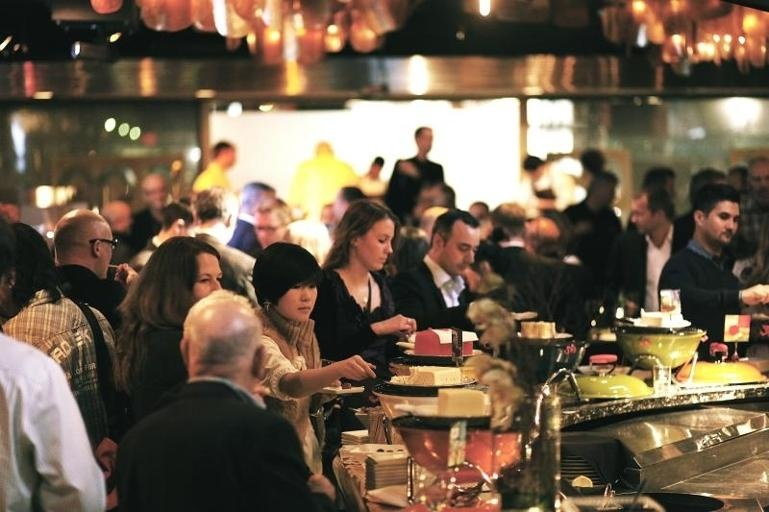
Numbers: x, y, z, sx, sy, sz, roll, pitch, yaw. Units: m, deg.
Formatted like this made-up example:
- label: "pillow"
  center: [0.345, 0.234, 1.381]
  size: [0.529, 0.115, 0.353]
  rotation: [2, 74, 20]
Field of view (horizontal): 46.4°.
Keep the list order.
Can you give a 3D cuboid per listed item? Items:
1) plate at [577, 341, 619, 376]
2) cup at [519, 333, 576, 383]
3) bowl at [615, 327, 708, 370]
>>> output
- label: "plate"
  center: [1.344, 0.655, 5.704]
  size: [0.281, 0.077, 0.282]
  rotation: [-7, 8, 7]
- label: "cup"
  center: [0.833, 0.501, 4.567]
  size: [0.317, 0.246, 0.312]
  rotation: [-2, -4, 0]
- label: "bowl"
  center: [1.594, 0.546, 5.356]
  size: [0.490, 0.206, 0.496]
  rotation: [-3, 4, 0]
